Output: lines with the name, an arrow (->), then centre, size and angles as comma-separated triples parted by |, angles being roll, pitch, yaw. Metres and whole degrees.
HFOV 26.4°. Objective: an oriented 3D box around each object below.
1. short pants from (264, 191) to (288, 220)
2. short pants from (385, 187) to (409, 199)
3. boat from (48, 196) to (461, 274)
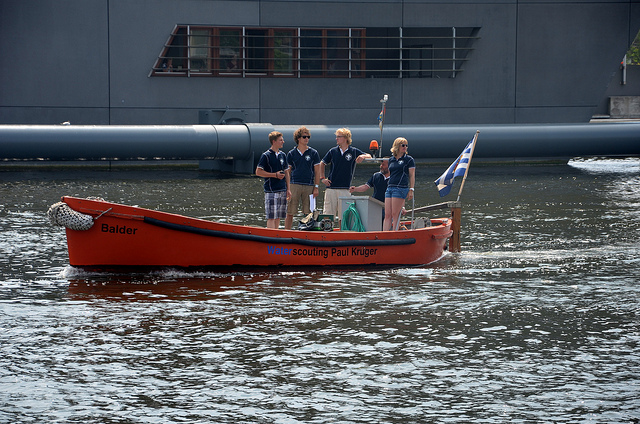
short pants -> -1.071, -0.174, 32.586 | 0.799, 0.694, 0.469 | -1, 5, -36
short pants -> 1.779, -0.470, 32.448 | 0.442, 0.240, 0.309 | 0, -10, 39
boat -> -2.372, 0.766, 31.626 | 11.622, 1.714, 2.766 | 2, -3, -16
